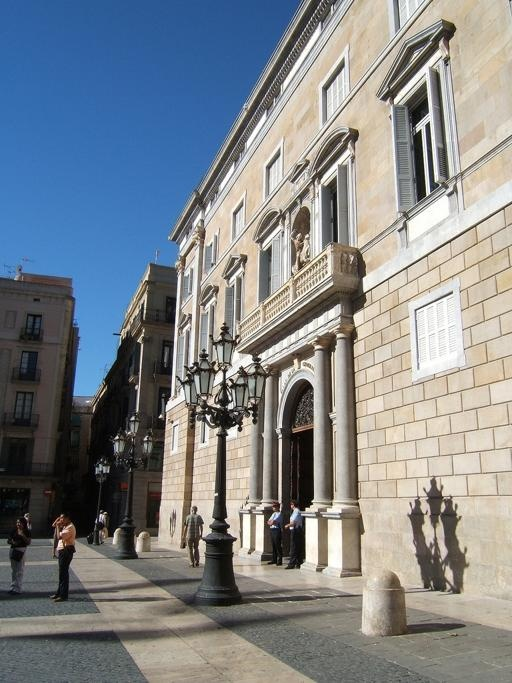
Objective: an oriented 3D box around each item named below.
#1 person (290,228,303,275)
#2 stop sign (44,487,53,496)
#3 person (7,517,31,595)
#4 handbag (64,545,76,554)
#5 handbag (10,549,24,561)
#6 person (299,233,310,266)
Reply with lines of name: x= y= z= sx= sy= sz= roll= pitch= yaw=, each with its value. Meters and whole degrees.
person: x=1.433 y=-3.002 z=16.960 sx=0.434 sy=1.649 sz=0.423 roll=-2 pitch=-20 yaw=2
stop sign: x=-17.561 y=12.686 z=42.885 sx=0.829 sy=0.812 sz=0.459 roll=3 pitch=-8 yaw=-28
person: x=-4.725 y=4.208 z=10.030 sx=0.385 sy=1.355 sz=1.823 roll=9 pitch=-18 yaw=-21
handbag: x=-3.076 y=3.475 z=8.503 sx=0.160 sy=0.177 sz=0.159 roll=-8 pitch=-17 yaw=11
handbag: x=-4.487 y=4.033 z=9.565 sx=0.280 sy=0.205 sz=0.051 roll=-4 pitch=-44 yaw=-11
person: x=1.607 y=-3.000 z=16.445 sx=0.184 sy=1.148 sz=0.650 roll=8 pitch=-17 yaw=-18
